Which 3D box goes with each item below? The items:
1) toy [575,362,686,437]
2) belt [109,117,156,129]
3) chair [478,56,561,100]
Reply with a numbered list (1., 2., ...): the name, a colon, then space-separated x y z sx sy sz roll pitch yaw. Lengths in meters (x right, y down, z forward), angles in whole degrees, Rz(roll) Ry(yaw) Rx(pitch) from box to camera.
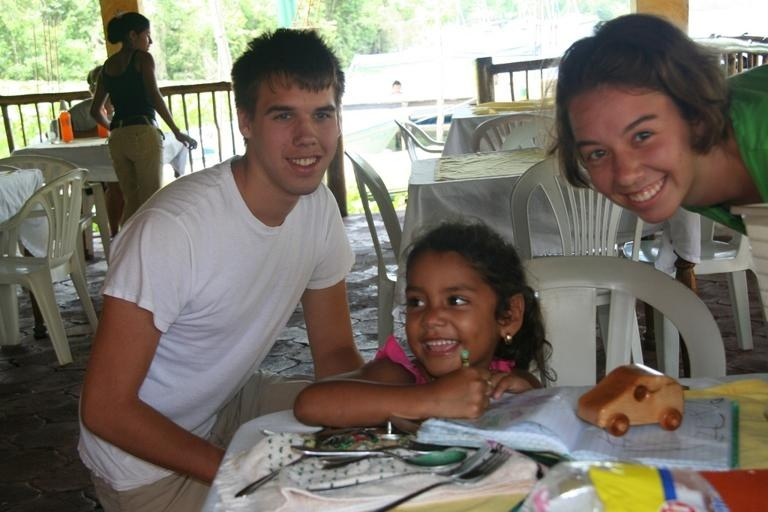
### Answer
1. toy: 0.477 0.279 1.153 0.198 0.090 0.121 -6 13 -2
2. belt: -2.073 -1.084 4.804 0.168 0.040 0.169 -4 0 28
3. chair: 1.350 -1.917 6.381 0.894 0.466 0.339 -14 16 -35
